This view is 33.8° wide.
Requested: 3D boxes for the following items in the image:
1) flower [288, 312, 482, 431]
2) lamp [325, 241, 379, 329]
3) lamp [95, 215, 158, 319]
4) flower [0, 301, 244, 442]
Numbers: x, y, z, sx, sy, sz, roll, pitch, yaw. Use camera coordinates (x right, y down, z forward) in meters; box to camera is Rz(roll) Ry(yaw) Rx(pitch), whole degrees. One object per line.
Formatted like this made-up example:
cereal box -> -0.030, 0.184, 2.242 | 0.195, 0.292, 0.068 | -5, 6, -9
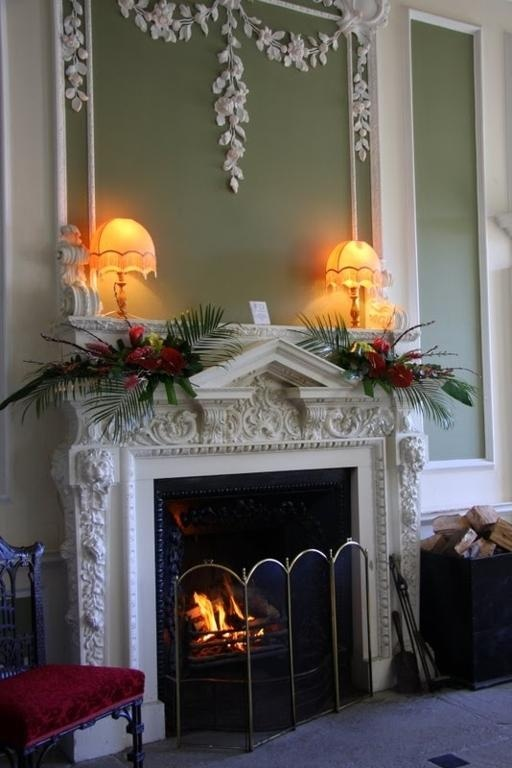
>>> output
flower -> 0.594, -0.083, 4.065 | 0.738, 0.291, 0.615 | 8, -38, -8
lamp -> 0.500, -0.476, 4.112 | 0.263, 0.406, 0.261 | 4, -5, 17
lamp -> -0.565, -0.506, 3.594 | 0.281, 0.392, 0.273 | 4, 6, 41
flower -> -0.477, -0.170, 3.389 | 0.688, 0.270, 0.654 | -13, 12, -8
